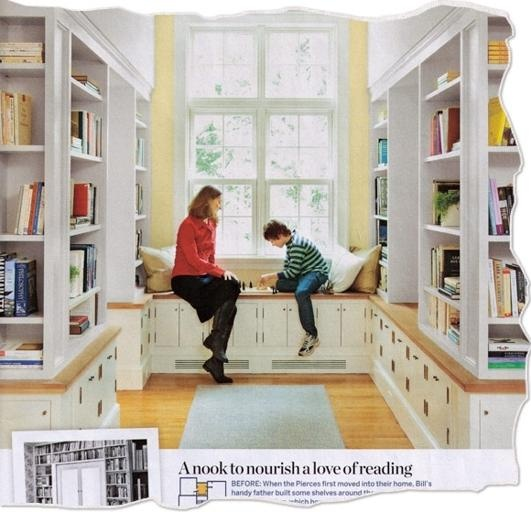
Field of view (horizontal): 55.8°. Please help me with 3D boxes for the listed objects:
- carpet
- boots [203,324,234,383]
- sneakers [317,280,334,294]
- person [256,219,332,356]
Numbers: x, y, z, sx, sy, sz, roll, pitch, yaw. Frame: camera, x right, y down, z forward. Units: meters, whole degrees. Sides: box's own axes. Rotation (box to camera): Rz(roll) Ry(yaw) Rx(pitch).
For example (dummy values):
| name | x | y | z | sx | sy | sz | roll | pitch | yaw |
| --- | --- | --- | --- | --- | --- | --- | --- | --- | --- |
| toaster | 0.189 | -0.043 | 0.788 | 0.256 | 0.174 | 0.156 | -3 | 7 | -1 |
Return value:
| name | x | y | z | sx | sy | sz | roll | pitch | yaw |
| --- | --- | --- | --- | --- | --- | --- | --- | --- | --- |
| carpet | -0.029 | 1.011 | 3.267 | 0.958 | 0.127 | 1.076 | 1 | -2 | 1 |
| boots | -0.371 | 0.765 | 3.912 | 0.231 | 0.406 | 0.237 | 1 | -3 | -6 |
| sneakers | 0.489 | 0.253 | 4.136 | 0.113 | 0.062 | 0.155 | 1 | 1 | 12 |
| person | 0.251 | 0.211 | 4.157 | 0.564 | 1.059 | 0.529 | -12 | 1 | 10 |
